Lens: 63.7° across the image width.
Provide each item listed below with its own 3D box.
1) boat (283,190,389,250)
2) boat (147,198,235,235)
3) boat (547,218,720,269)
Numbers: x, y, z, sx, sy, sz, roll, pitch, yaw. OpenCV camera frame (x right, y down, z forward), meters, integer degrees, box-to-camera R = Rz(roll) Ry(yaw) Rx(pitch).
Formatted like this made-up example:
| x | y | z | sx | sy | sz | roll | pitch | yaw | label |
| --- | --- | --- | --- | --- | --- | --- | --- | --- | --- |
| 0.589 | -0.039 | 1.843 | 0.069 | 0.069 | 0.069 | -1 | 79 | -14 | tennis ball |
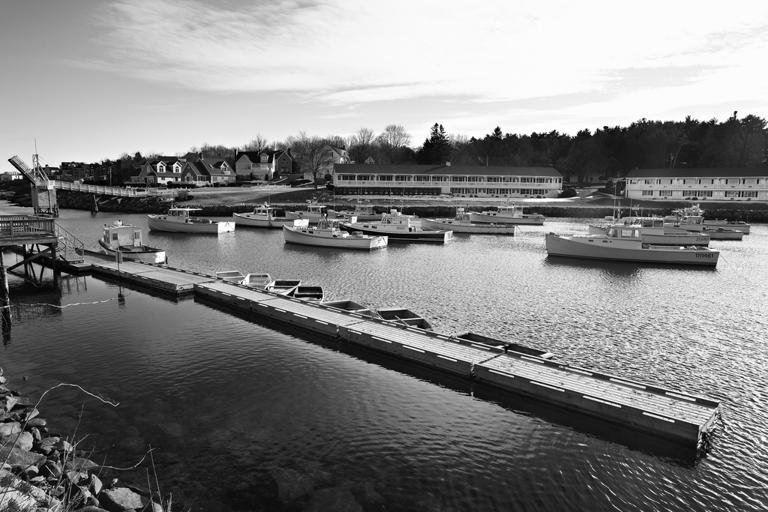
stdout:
| x | y | z | sx | sy | sz | roll | pitch | yaw | label |
| --- | --- | --- | --- | --- | --- | --- | --- | --- | --- |
| -4.532 | -1.641 | 55.484 | 8.673 | 1.657 | 3.097 | 6 | 12 | 23 | boat |
| -20.627 | -3.602 | 65.259 | 9.765 | 2.493 | 3.181 | 8 | 13 | 31 | boat |
| 20.986 | -0.615 | 49.780 | 15.166 | 4.108 | 4.905 | 5 | 7 | 18 | boat |
